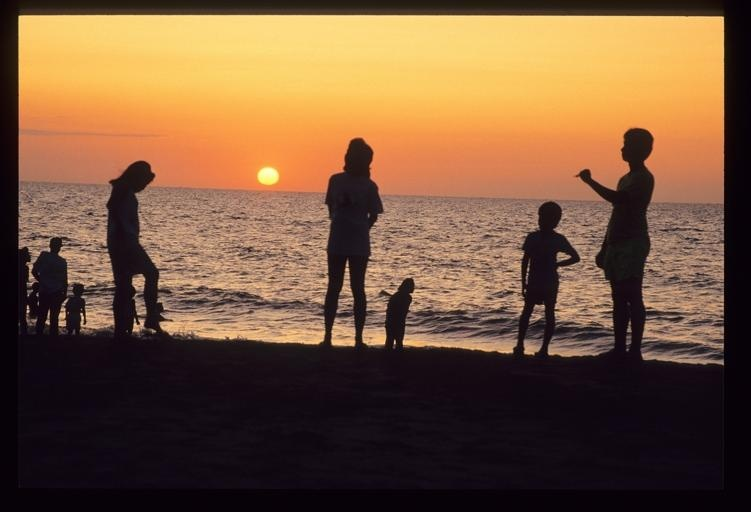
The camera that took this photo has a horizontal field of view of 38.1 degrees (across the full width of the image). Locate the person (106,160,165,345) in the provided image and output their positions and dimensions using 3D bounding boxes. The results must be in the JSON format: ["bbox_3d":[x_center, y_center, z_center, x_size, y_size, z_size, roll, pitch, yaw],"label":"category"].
[{"bbox_3d":[-3.313,-0.090,14.920,0.852,2.319,1.080,5,0,-8],"label":"person"}]

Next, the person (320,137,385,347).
[{"bbox_3d":[-0.335,-0.223,14.563,0.737,2.692,0.370,5,0,-4],"label":"person"}]

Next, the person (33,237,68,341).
[{"bbox_3d":[-5.031,0.454,16.757,0.514,1.422,0.756,5,0,-15],"label":"person"}]

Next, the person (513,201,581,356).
[{"bbox_3d":[2.420,0.326,15.354,0.749,2.187,0.770,5,0,6],"label":"person"}]
